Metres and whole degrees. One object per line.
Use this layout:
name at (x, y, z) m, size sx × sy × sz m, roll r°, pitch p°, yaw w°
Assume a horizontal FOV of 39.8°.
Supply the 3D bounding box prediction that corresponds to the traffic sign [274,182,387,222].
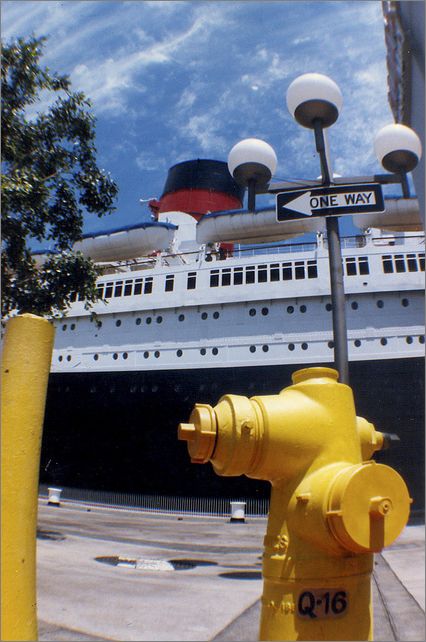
traffic sign at (0.945, -0.946, 4.770) m, size 0.846 × 0.286 × 0.176 m, roll -4°, pitch -15°, yaw 18°
